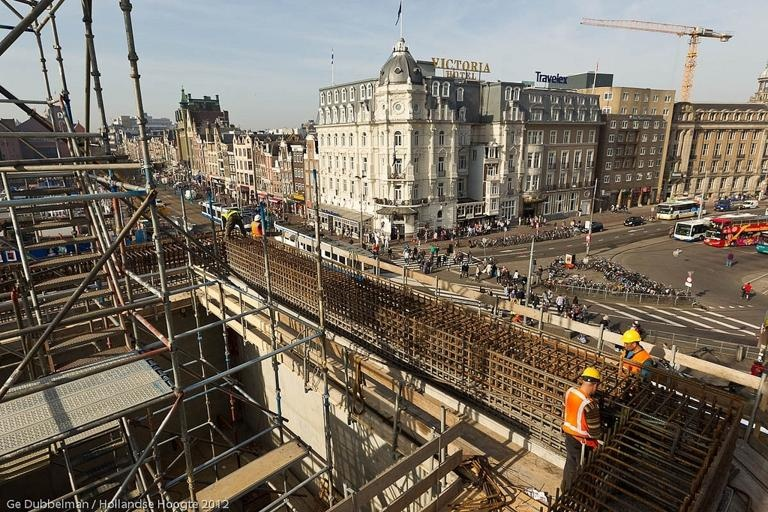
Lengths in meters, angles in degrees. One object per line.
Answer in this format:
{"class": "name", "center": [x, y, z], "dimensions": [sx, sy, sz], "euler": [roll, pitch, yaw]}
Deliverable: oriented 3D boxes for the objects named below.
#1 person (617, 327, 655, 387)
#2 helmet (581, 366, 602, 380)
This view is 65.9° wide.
{"class": "person", "center": [9.203, 3.569, 21.539], "dimensions": [1.093, 1.454, 1.956], "euler": [9, 18, 23]}
{"class": "helmet", "center": [6.810, 3.906, 19.409], "dimensions": [0.627, 0.322, 0.471], "euler": [-11, 15, -26]}
